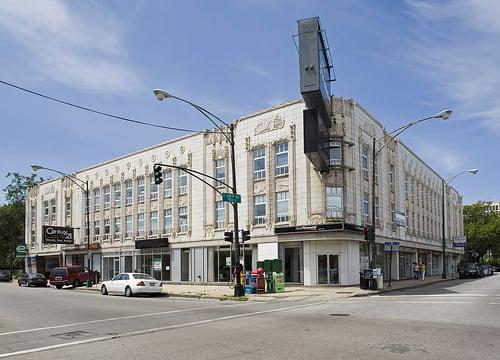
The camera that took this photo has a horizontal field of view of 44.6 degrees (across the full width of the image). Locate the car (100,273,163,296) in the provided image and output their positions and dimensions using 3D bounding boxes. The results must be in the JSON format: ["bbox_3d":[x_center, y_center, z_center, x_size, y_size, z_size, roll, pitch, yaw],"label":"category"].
[{"bbox_3d":[-8.697,7.468,44.097,4.830,1.481,1.932,-7,-13,44],"label":"car"}]

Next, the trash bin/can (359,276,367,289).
[{"bbox_3d":[7.971,7.290,43.255,0.269,0.988,0.526,3,-15,-19],"label":"trash bin/can"}]

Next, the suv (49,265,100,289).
[{"bbox_3d":[-16.341,8.808,55.650,1.971,2.016,4.971,-3,-7,21],"label":"suv"}]
